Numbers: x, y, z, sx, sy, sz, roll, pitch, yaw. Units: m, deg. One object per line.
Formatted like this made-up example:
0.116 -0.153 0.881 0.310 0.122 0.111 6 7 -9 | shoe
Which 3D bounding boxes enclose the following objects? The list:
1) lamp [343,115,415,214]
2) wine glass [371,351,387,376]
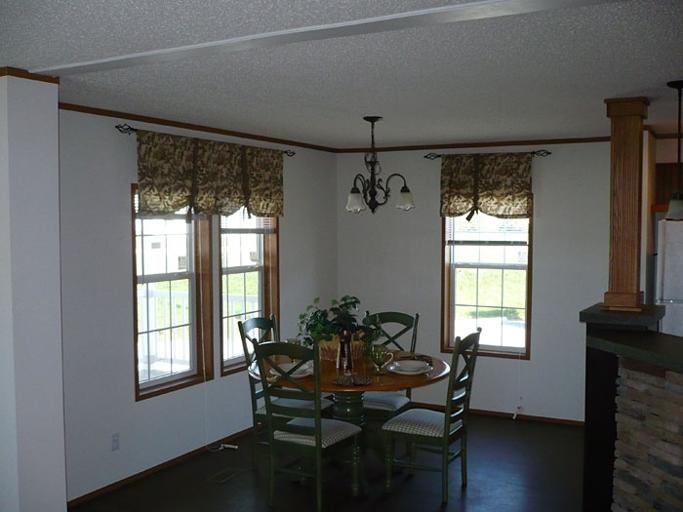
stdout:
0.435 -0.952 5.718 0.842 1.096 0.718 -2 -5 28 | lamp
0.314 0.857 4.518 0.135 0.210 0.139 2 -1 -30 | wine glass
